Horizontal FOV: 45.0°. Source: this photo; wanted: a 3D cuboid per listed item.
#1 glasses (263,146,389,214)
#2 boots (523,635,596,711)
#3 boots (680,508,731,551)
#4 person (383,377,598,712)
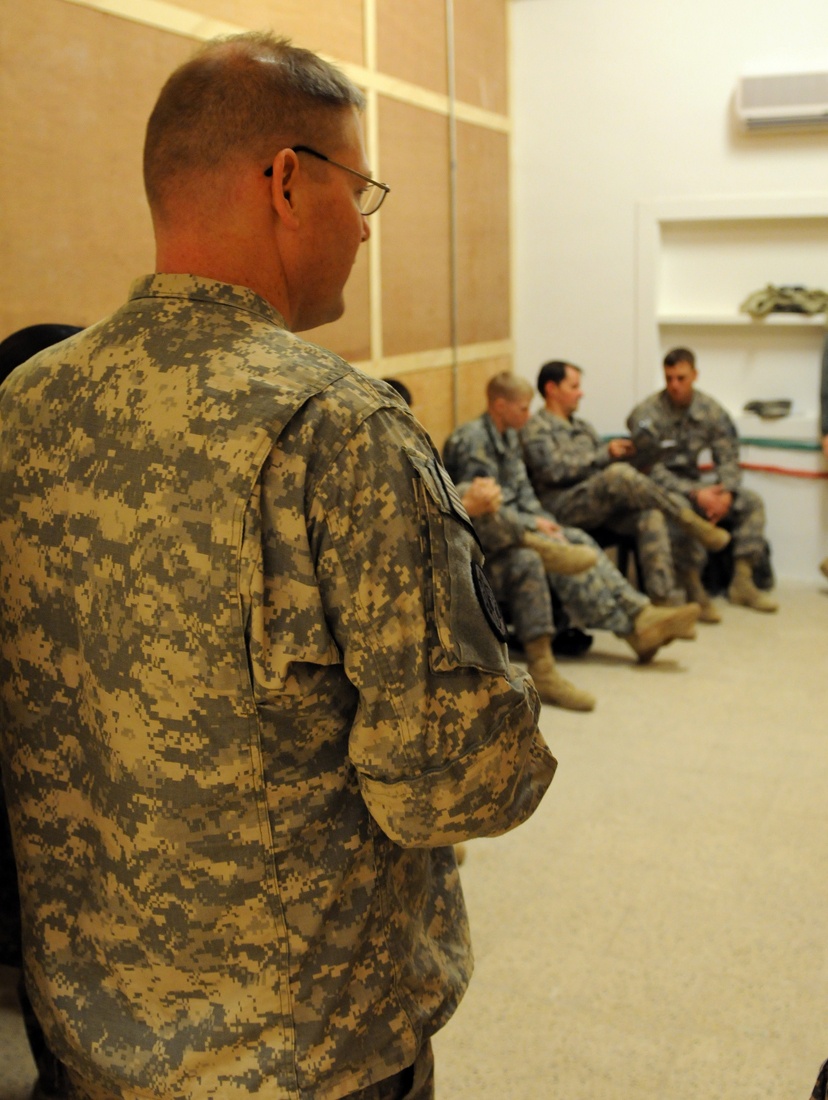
[{"bbox_3d":[-0.066,-0.293,0.762,0.067,0.018,0.065,23,-5,-7],"label":"glasses"},{"bbox_3d":[0.237,0.201,1.602,0.050,0.104,0.141,-1,0,-37],"label":"boots"},{"bbox_3d":[0.411,-0.027,1.413,0.062,0.030,0.087,39,-16,-33],"label":"boots"},{"bbox_3d":[0.180,0.060,1.700,0.214,0.668,0.227,-19,0,-31],"label":"person"}]
